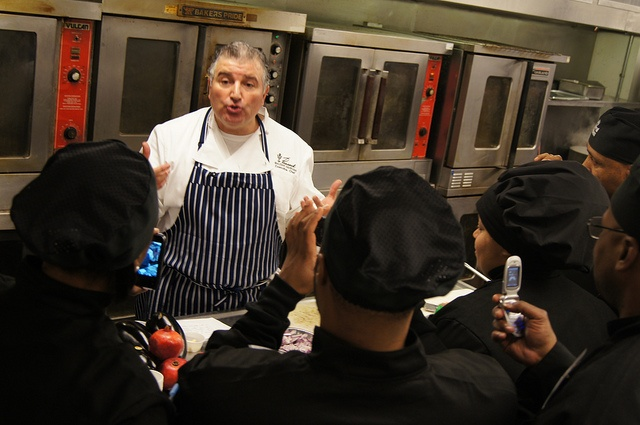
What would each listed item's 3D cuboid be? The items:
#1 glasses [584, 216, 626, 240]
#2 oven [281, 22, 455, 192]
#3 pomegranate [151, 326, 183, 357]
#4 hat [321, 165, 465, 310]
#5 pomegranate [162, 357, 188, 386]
[{"bbox_3d":[0.839,0.046,1.351,0.076,0.024,0.077,20,14,36],"label":"glasses"},{"bbox_3d":[0.297,-0.916,4.150,1.421,1.255,0.695,-3,21,-24],"label":"oven"},{"bbox_3d":[-0.545,0.462,1.628,0.117,0.108,0.113,5,6,-29],"label":"pomegranate"},{"bbox_3d":[0.198,0.072,1.197,0.384,0.360,0.181,5,12,0],"label":"hat"},{"bbox_3d":[-0.488,0.561,1.567,0.084,0.097,0.082,-1,9,1],"label":"pomegranate"}]
